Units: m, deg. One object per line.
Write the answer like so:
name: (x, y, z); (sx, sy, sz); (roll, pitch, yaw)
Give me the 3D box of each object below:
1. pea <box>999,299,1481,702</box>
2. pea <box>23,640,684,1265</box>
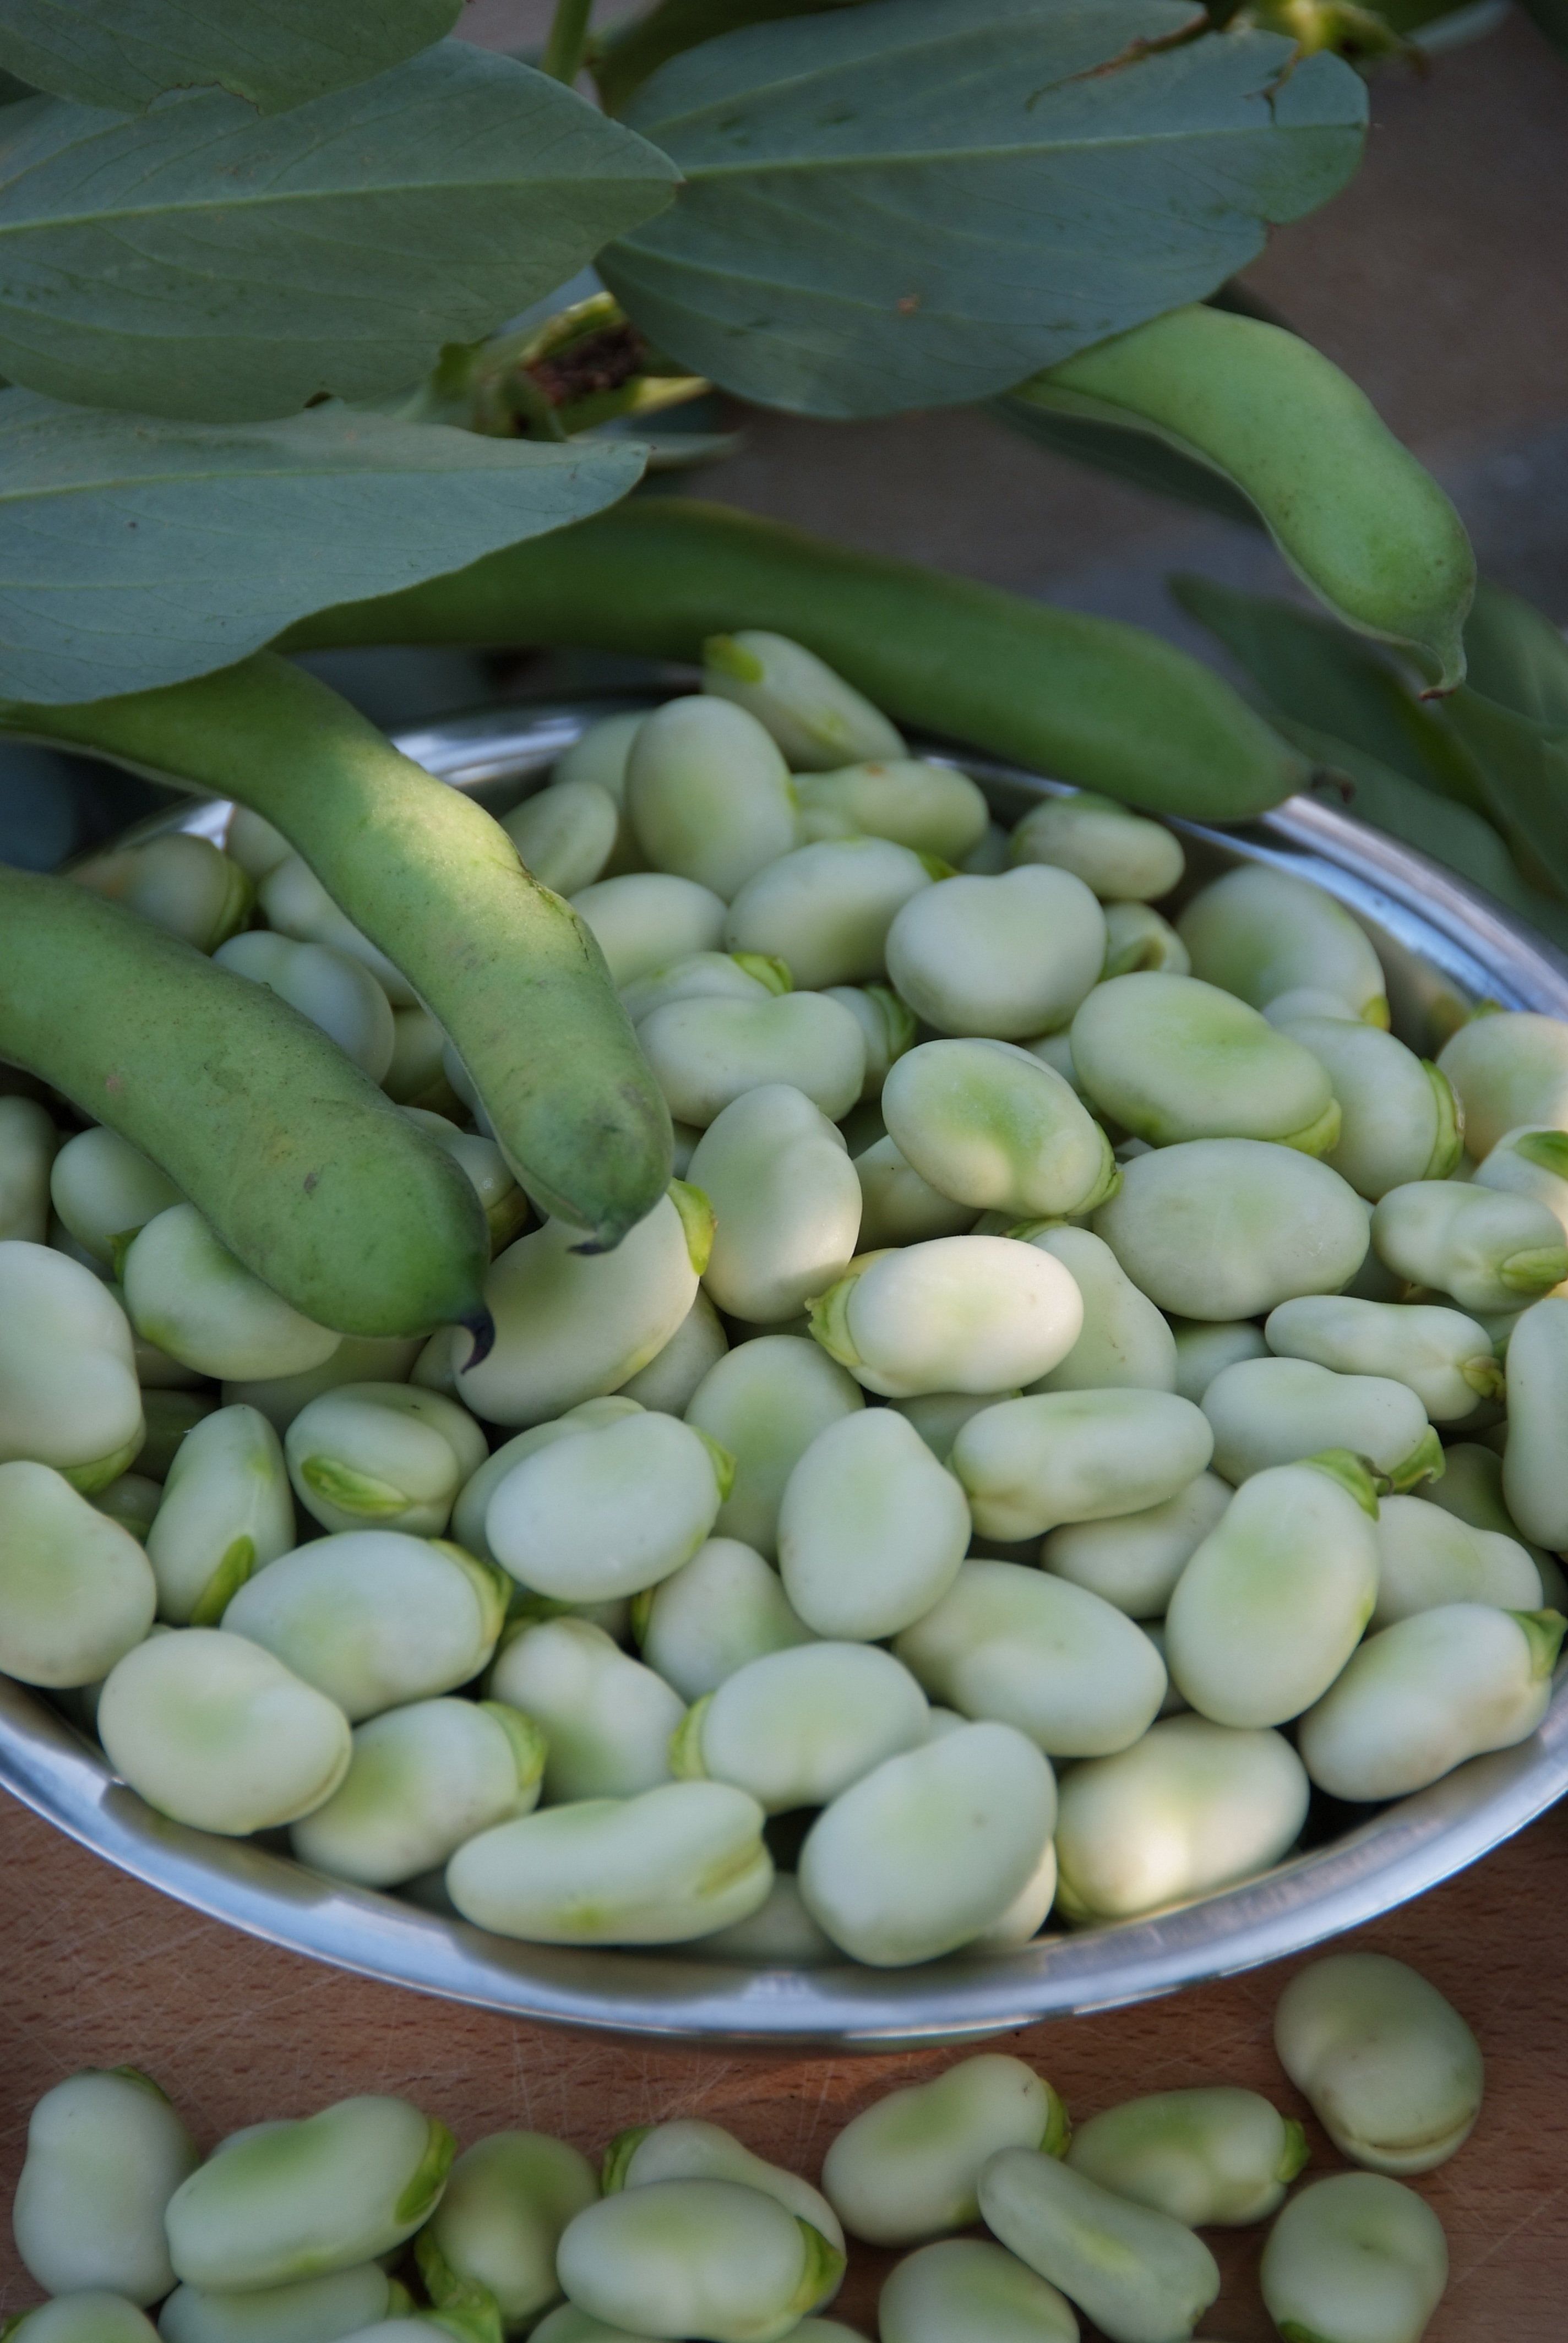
pea: (0.126, -0.189, 0.641); (0.070, 0.039, 0.145); (-35, 71, 11)
pea: (-0.082, -0.065, 0.538); (0.078, 0.061, 0.232); (-31, 61, -20)
